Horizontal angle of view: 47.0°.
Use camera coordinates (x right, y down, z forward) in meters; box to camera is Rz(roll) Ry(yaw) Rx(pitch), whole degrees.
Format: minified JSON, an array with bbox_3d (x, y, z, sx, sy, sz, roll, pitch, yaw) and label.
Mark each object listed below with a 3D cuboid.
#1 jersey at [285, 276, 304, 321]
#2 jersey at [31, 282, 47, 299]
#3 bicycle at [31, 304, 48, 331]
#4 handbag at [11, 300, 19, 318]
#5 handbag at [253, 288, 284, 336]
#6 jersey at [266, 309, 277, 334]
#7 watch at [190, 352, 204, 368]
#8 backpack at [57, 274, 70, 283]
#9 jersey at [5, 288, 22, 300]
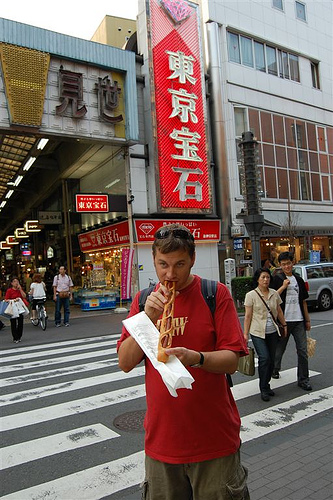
[{"bbox_3d":[1.975,0.753,6.003,0.346,0.700,0.170,-2,-1,-29],"label":"jersey"},{"bbox_3d":[-4.704,1.447,13.897,0.473,0.455,0.420,-2,-1,-23],"label":"jersey"},{"bbox_3d":[-4.486,2.367,13.750,0.605,0.780,1.246,-1,3,-24],"label":"bicycle"},{"bbox_3d":[-4.489,1.749,11.241,0.177,0.334,0.308,-2,-1,-23],"label":"handbag"},{"bbox_3d":[1.562,0.971,5.652,0.212,0.913,0.126,-29,-15,3],"label":"handbag"},{"bbox_3d":[1.510,1.085,5.561,0.180,0.243,0.259,-4,-10,15],"label":"jersey"},{"bbox_3d":[0.114,0.413,1.464,0.041,0.062,0.066,1,-4,-1],"label":"watch"},{"bbox_3d":[-3.884,1.042,14.189,0.273,0.229,0.299,3,5,36],"label":"backpack"},{"bbox_3d":[-4.706,1.327,11.656,0.463,0.459,0.258,6,-19,-32],"label":"jersey"}]
